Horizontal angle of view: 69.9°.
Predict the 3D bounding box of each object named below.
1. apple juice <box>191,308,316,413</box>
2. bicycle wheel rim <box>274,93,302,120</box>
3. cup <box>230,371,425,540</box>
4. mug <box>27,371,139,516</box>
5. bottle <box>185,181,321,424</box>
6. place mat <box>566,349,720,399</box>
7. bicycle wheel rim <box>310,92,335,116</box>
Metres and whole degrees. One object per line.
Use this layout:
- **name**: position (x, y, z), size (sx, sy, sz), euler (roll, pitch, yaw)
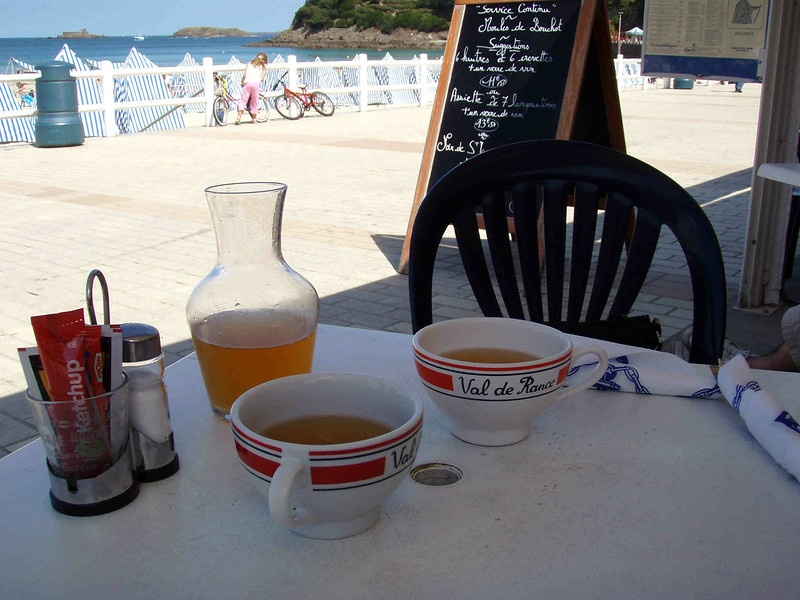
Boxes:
- **apple juice**: position (-0.241, 0.084, 0.950), size (0.181, 0.128, 0.194), euler (-1, 9, -2)
- **bicycle wheel rim**: position (-2.934, -5.146, 15.213), size (0.750, 0.637, 0.522), euler (-2, 19, -2)
- **cup**: position (-0.076, 0.170, 0.729), size (0.199, 0.120, 0.239), euler (11, 12, 35)
- **mug**: position (-0.420, 0.205, 0.795), size (0.128, 0.161, 0.114), euler (-2, -1, -8)
- **bottle**: position (-0.266, -0.003, 1.045), size (0.261, 0.405, 0.246), euler (1, 20, 0)
- **place mat**: position (0.456, 0.133, 1.092), size (0.219, 0.057, 0.117), euler (2, 16, 14)
- **bicycle wheel rim**: position (-2.112, -5.359, 15.656), size (0.291, 0.627, 0.633), euler (-17, 16, 36)
